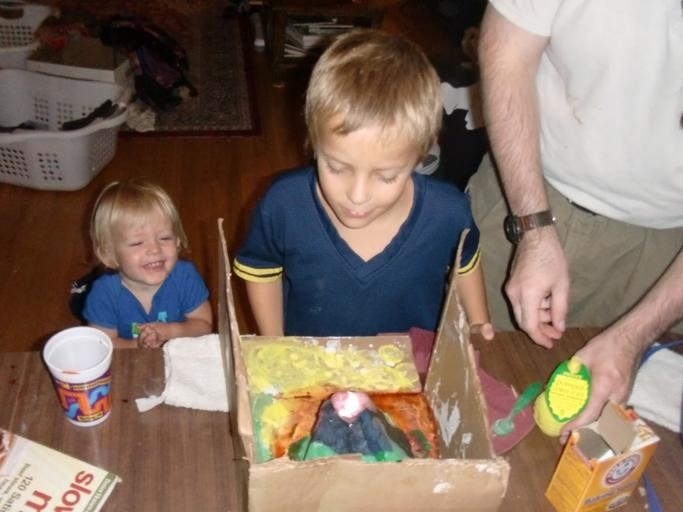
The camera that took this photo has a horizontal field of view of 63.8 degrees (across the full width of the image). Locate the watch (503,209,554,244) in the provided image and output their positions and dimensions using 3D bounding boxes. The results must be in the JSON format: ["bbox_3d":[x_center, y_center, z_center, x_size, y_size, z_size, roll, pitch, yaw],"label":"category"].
[{"bbox_3d":[0.421,-0.068,1.287,0.100,0.069,0.106,-12,-12,-13],"label":"watch"}]
